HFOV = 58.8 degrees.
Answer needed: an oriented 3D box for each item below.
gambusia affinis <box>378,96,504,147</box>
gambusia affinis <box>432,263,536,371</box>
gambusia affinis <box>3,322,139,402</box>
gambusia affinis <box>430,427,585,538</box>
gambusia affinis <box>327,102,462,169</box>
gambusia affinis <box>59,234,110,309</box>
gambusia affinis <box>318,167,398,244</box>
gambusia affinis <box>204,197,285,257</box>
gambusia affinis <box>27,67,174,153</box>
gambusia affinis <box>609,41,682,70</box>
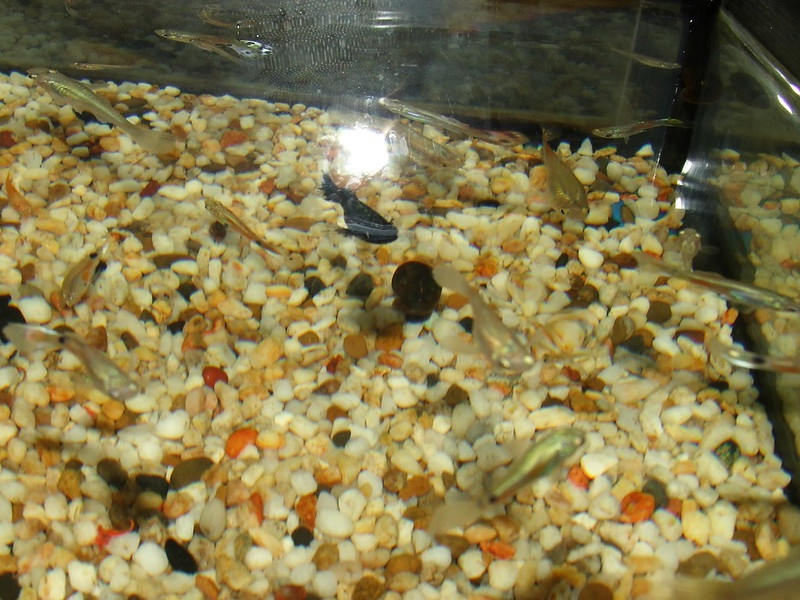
[{"bbox_3d":[0.216,-0.937,3.759,0.485,0.133,0.104,18,72,-6],"label":"gambusia affinis"},{"bbox_3d":[0.285,0.058,2.590,0.257,0.188,0.472,-38,100,-4],"label":"gambusia affinis"},{"bbox_3d":[-1.230,0.206,2.641,0.537,0.273,0.091,23,52,15],"label":"gambusia affinis"},{"bbox_3d":[0.445,0.643,2.548,0.606,0.220,0.169,-37,28,9],"label":"gambusia affinis"},{"bbox_3d":[-0.017,-0.852,3.721,0.412,0.176,0.146,28,71,15],"label":"gambusia affinis"},{"bbox_3d":[-1.407,-0.144,3.243,0.143,0.085,0.377,-12,32,19],"label":"gambusia affinis"},{"bbox_3d":[-0.218,-0.407,3.439,0.386,0.153,0.226,45,64,4],"label":"gambusia affinis"},{"bbox_3d":[-0.734,-0.333,3.325,0.355,0.093,0.085,35,72,-22],"label":"gambusia affinis"},{"bbox_3d":[-1.566,-0.966,3.661,0.765,0.201,0.215,29,51,-29],"label":"gambusia affinis"},{"bbox_3d":[1.257,-1.239,3.693,0.384,0.106,0.079,29,91,23],"label":"gambusia affinis"}]
